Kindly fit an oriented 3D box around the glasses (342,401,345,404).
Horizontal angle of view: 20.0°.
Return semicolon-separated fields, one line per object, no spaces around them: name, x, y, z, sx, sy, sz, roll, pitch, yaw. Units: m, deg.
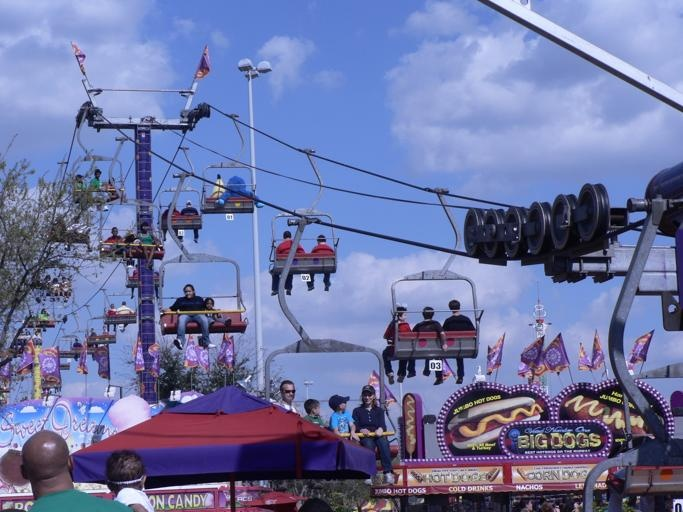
glasses;0.081;3.490;45.595;0.047;0.048;0.045;6;18;-2
